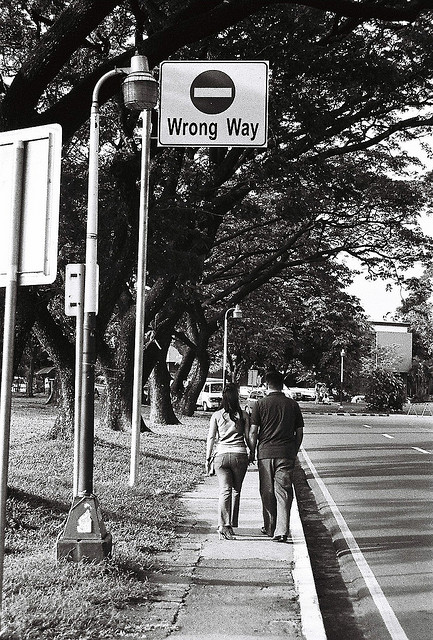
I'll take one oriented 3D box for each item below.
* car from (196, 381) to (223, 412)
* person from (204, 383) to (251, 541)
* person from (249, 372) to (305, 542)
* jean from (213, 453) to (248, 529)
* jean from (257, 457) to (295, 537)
[{"bbox_3d":[-0.123,4.883,48.419,1.839,2.219,3.644,2,-7,-11],"label":"car"},{"bbox_3d":[0.142,1.419,7.621,0.453,1.536,0.622,3,-2,-21],"label":"person"},{"bbox_3d":[0.563,1.360,7.536,0.503,1.652,0.403,1,-2,33],"label":"person"},{"bbox_3d":[0.131,1.739,7.645,0.332,0.800,0.481,3,-2,-11],"label":"jean"},{"bbox_3d":[0.577,1.762,7.468,0.280,0.824,0.478,3,-2,-33],"label":"jean"}]
